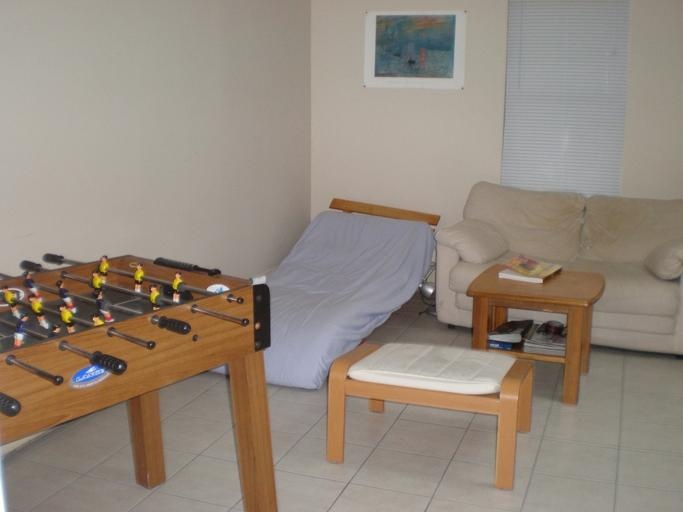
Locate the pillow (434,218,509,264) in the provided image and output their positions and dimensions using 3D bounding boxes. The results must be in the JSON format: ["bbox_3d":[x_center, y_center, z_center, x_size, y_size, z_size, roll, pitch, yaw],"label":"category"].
[{"bbox_3d":[0.926,-0.101,4.049,0.387,0.116,0.403,27,36,24],"label":"pillow"}]

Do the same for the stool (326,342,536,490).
[{"bbox_3d":[0.366,0.635,2.486,0.631,0.386,0.853,2,5,22],"label":"stool"}]

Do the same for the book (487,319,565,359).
[{"bbox_3d":[1.107,0.475,3.272,0.287,0.063,0.278,3,12,26],"label":"book"}]

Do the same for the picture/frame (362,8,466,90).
[{"bbox_3d":[0.709,-1.921,5.225,0.895,0.560,0.044,2,4,13],"label":"picture/frame"}]
